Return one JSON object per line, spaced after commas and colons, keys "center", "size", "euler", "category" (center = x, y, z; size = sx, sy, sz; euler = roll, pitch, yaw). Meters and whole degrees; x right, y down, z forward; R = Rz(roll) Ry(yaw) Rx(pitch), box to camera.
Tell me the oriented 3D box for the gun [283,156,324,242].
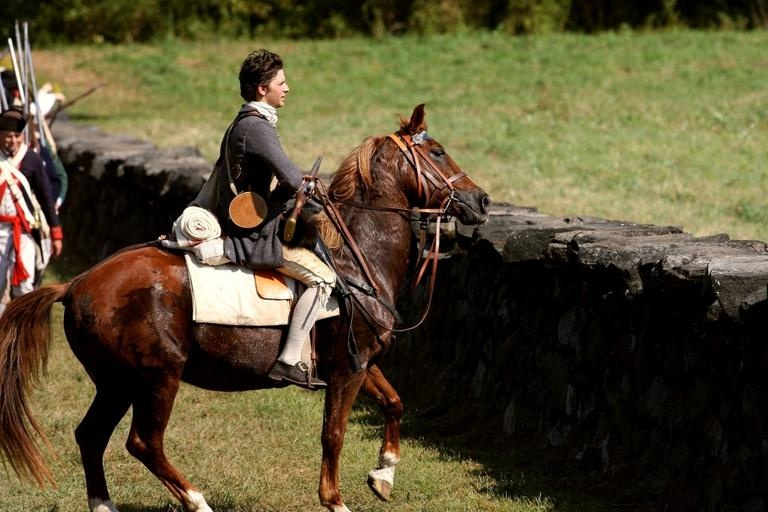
{"center": [-1.184, -0.796, 23.509], "size": [0.527, 1.276, 0.319], "euler": [5, -6, -26], "category": "gun"}
